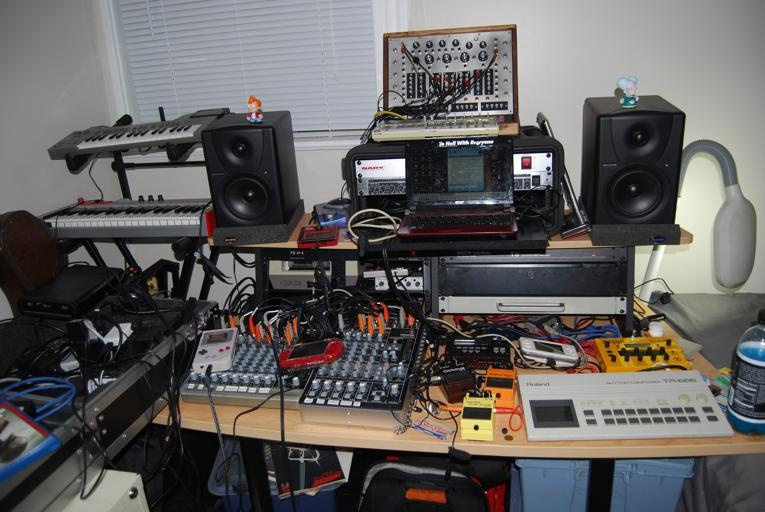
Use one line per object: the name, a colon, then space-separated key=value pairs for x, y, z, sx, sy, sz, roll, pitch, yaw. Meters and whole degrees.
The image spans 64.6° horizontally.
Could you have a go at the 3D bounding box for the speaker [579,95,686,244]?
speaker: x=1.186 y=-0.390 z=2.897 sx=0.455 sy=0.673 sz=0.392 roll=2 pitch=23 yaw=17

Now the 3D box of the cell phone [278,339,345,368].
cell phone: x=-0.324 y=0.432 z=2.701 sx=0.230 sy=0.053 sz=0.130 roll=-7 pitch=26 yaw=-3

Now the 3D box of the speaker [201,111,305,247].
speaker: x=-0.684 y=-0.409 z=3.161 sx=0.413 sy=0.607 sz=0.426 roll=-4 pitch=22 yaw=2

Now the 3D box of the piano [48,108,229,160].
piano: x=-1.448 y=-0.711 z=3.596 sx=1.004 sy=0.227 sz=0.370 roll=-1 pitch=22 yaw=9

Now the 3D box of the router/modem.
router/modem: x=-1.572 y=0.173 z=3.084 sx=0.345 sy=0.076 sz=0.332 roll=4 pitch=24 yaw=21

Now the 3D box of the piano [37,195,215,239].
piano: x=-1.458 y=-0.203 z=3.642 sx=1.139 sy=0.227 sz=0.406 roll=1 pitch=22 yaw=14

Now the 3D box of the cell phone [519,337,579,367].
cell phone: x=0.770 y=0.435 z=2.801 sx=0.202 sy=0.057 sz=0.141 roll=7 pitch=22 yaw=11
